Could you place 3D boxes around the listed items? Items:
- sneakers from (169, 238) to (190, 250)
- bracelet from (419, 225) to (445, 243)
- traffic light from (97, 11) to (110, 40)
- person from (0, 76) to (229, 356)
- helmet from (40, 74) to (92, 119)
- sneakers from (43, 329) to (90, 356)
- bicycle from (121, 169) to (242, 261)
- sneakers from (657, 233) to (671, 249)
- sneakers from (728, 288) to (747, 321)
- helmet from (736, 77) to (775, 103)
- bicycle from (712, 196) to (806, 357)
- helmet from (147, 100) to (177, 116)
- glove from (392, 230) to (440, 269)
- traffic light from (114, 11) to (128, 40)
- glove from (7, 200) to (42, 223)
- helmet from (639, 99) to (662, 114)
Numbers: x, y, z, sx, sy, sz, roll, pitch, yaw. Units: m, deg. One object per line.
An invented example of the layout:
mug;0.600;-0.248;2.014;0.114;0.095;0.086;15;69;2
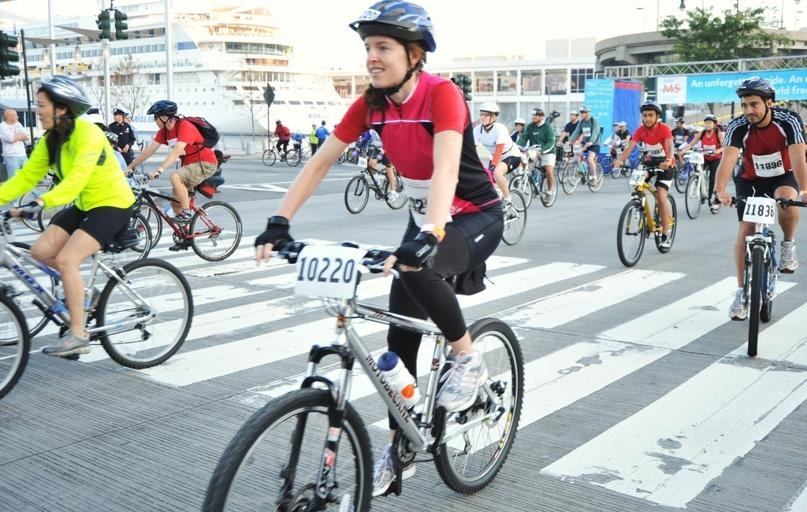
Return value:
sneakers;-3.834;-0.185;10.278;0.322;0.135;0.173;0;8;12
bracelet;0.154;-0.121;3.246;0.113;0.047;0.086;21;-11;20
traffic light;-10.228;-7.907;20.539;0.352;0.838;2.080;-6;13;-25
person;-2.954;-0.283;5.407;0.973;2.555;0.815;-5;13;-21
helmet;-2.947;-1.380;5.249;0.381;0.357;0.273;-7;14;-29
sneakers;-2.908;0.770;5.361;0.168;0.216;0.467;3;-1;39
bicycle;-4.198;-0.538;10.453;1.160;1.339;2.282;-19;-13;35
sneakers;4.678;-0.243;10.812;0.151;0.283;0.442;-6;3;36
sneakers;3.957;0.587;7.107;0.155;0.207;0.467;-2;19;37
helmet;3.876;-1.834;6.619;0.391;0.187;0.263;4;7;-14
bicycle;3.916;0.119;6.616;0.610;1.519;1.706;7;14;33
helmet;-4.025;-2.420;9.965;0.470;0.223;0.314;1;16;-12
glove;0.080;-0.023;3.145;0.196;0.088;0.196;-6;32;39
traffic light;-9.507;-7.652;20.258;0.366;0.926;2.281;-6;13;-24
glove;-3.267;-0.401;5.378;0.178;0.188;0.501;4;7;-5
helmet;4.487;-2.698;10.880;0.429;0.199;0.288;-2;-2;-45
